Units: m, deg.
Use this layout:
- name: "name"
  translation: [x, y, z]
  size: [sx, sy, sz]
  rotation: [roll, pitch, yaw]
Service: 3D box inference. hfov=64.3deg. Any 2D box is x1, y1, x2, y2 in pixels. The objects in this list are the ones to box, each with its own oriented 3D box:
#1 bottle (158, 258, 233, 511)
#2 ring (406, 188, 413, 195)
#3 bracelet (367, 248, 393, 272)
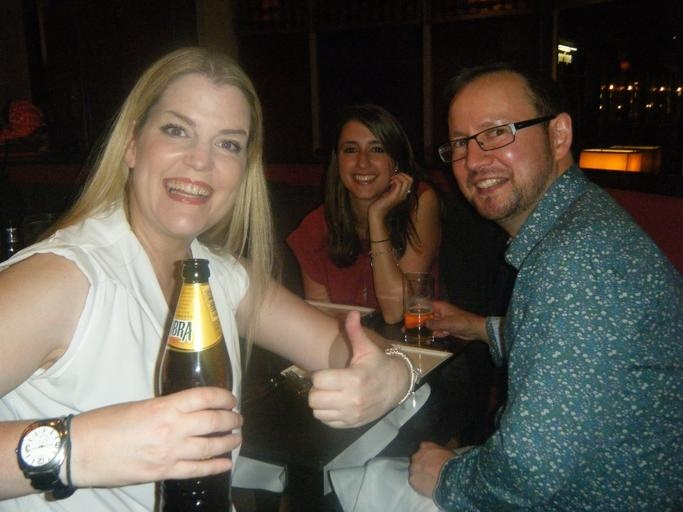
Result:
- name: "bottle"
  translation: [-0.322, 0.295, 1.173]
  size: [0.159, 0.616, 0.219]
  rotation: [-3, 14, -11]
- name: "ring"
  translation: [0.349, -0.328, 2.806]
  size: [0.030, 0.029, 0.030]
  rotation: [-1, -6, 0]
- name: "bracelet"
  translation: [0.200, 0.009, 2.695]
  size: [0.088, 0.084, 0.114]
  rotation: [1, -1, -4]
